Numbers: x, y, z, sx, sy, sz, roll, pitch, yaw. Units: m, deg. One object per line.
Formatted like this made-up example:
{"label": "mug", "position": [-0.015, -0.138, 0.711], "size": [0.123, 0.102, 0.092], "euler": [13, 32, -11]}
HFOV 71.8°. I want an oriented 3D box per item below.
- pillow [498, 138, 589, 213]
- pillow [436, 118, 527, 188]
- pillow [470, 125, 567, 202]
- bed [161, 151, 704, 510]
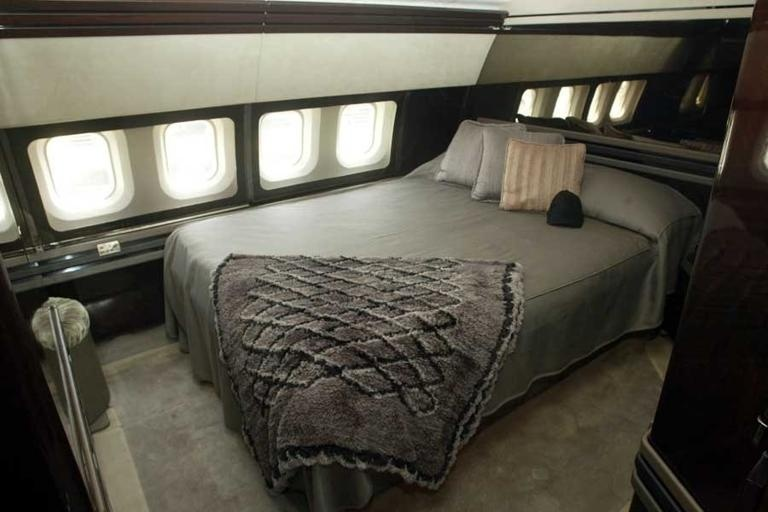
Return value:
{"label": "pillow", "position": [1.045, -0.511, 3.609], "size": [0.494, 0.485, 0.152], "euler": [4, 4, 8]}
{"label": "pillow", "position": [0.719, -0.795, 4.123], "size": [0.174, 0.549, 0.549], "euler": [12, 7, -41]}
{"label": "pillow", "position": [0.833, -0.617, 3.912], "size": [0.548, 0.564, 0.239], "euler": [5, -10, -2]}
{"label": "bed", "position": [0.537, 0.024, 3.106], "size": [2.736, 0.942, 1.830], "euler": [-16, 42, -25]}
